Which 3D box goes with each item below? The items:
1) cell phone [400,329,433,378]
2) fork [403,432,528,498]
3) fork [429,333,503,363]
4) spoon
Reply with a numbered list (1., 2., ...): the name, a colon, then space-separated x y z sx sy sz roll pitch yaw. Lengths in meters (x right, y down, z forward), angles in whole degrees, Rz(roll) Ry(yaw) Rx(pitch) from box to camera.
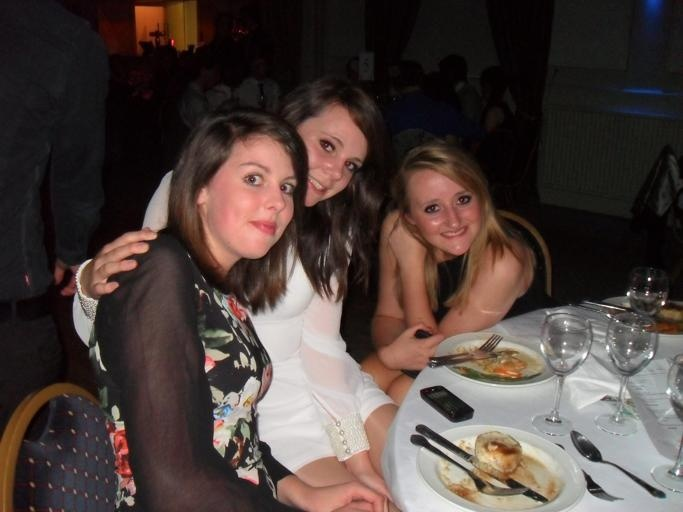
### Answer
1. cell phone: 0.286 0.372 2.180 0.060 0.171 0.127 8 -9 41
2. fork: 0.302 0.510 1.343 0.045 0.045 0.248 -8 22 -45
3. fork: 0.418 0.303 1.837 0.279 0.050 0.047 -9 17 -27
4. spoon: 0.643 0.500 1.387 0.060 0.055 0.300 -4 27 -27
